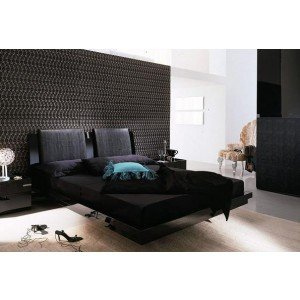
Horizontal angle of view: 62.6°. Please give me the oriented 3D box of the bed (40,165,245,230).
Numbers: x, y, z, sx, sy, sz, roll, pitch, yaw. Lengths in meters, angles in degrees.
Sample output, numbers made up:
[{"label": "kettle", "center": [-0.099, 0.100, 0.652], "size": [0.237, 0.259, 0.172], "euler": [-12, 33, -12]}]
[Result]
[{"label": "bed", "center": [-0.383, 0.485, 2.902], "size": [0.780, 0.403, 1.821], "euler": [-10, 16, -42]}]

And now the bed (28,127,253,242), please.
[{"label": "bed", "center": [-0.470, 0.353, 3.180], "size": [1.711, 1.091, 2.294], "euler": [-4, 6, -37]}]

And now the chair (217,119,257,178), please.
[{"label": "chair", "center": [2.249, -0.066, 6.152], "size": [0.892, 1.318, 0.903], "euler": [2, 7, 2]}]
